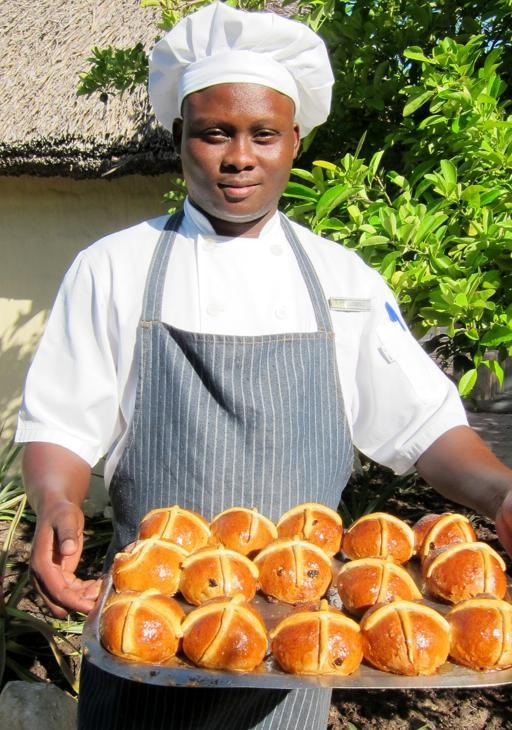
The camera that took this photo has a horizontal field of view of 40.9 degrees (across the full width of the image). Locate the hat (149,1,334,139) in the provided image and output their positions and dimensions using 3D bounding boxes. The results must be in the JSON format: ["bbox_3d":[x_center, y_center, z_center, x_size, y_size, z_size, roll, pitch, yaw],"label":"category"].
[{"bbox_3d":[-0.025,-0.679,1.539,0.405,0.326,0.102,-10,51,-6],"label":"hat"}]
